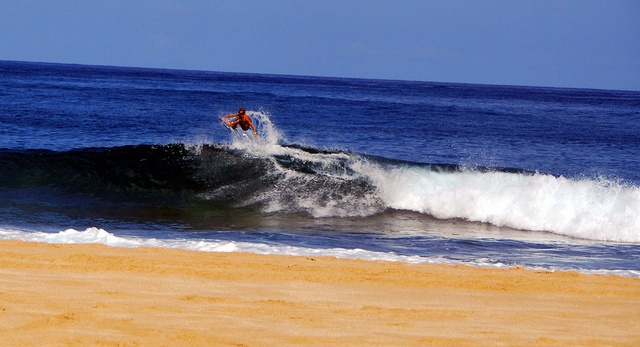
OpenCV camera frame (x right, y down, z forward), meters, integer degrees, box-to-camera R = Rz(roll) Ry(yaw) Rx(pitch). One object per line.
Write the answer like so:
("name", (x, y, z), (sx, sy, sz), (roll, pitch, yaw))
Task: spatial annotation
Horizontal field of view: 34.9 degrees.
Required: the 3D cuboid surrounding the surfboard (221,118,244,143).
("surfboard", (-5.895, -3.078, 69.958), (0.566, 0.770, 3.087), (-1, 16, -32))
